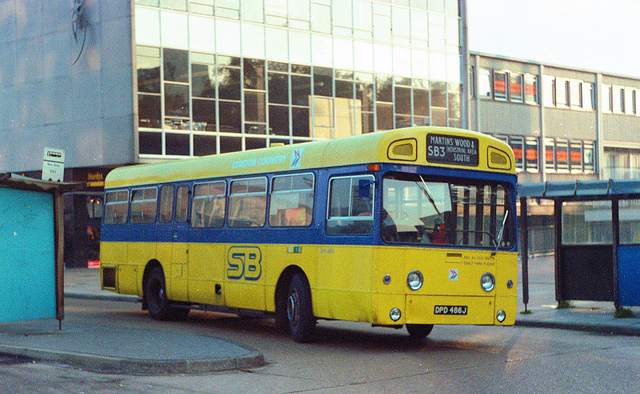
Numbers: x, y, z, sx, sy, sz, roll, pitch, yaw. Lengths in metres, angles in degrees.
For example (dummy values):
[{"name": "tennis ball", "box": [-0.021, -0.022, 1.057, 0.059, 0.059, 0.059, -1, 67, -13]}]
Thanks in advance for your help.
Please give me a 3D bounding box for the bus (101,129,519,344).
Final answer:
[{"name": "bus", "box": [-1.247, 1.331, 21.394, 13.584, 5.441, 3.616, -6, -7, 40]}]
